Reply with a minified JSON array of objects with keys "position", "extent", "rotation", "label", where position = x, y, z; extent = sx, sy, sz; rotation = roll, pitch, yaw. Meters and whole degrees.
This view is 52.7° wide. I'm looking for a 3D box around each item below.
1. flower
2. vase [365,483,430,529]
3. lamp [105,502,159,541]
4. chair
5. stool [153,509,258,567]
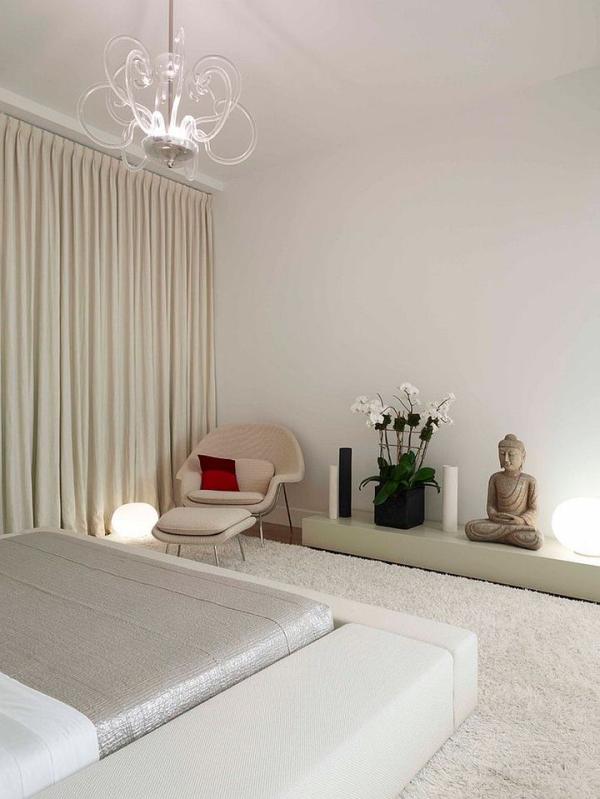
[{"position":[0.682,0.201,3.940],"extent":[0.695,0.867,0.694],"rotation":[-3,4,-38],"label":"flower"},{"position":[0.605,0.647,3.695],"extent":[0.270,0.253,0.270],"rotation":[0,-4,36],"label":"vase"},{"position":[-1.099,0.816,4.023],"extent":[0.309,0.196,0.327],"rotation":[6,8,39],"label":"lamp"},{"position":[-0.426,0.589,4.274],"extent":[0.912,0.768,0.734],"rotation":[1,0,17],"label":"chair"},{"position":[-0.520,0.775,3.346],"extent":[0.504,0.299,0.375],"rotation":[-2,8,18],"label":"stool"}]
